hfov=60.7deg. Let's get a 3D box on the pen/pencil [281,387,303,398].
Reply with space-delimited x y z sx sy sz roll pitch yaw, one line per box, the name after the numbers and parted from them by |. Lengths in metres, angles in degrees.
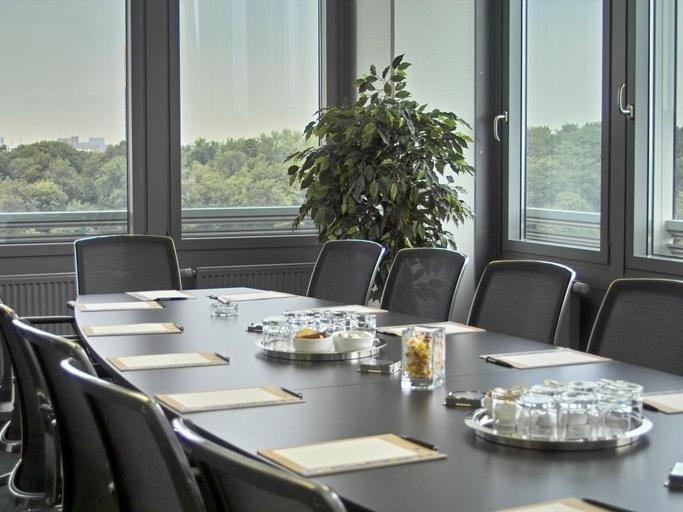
-0.143 0.401 1.717 0.020 0.019 0.133 -6 3 -31 | pen/pencil
